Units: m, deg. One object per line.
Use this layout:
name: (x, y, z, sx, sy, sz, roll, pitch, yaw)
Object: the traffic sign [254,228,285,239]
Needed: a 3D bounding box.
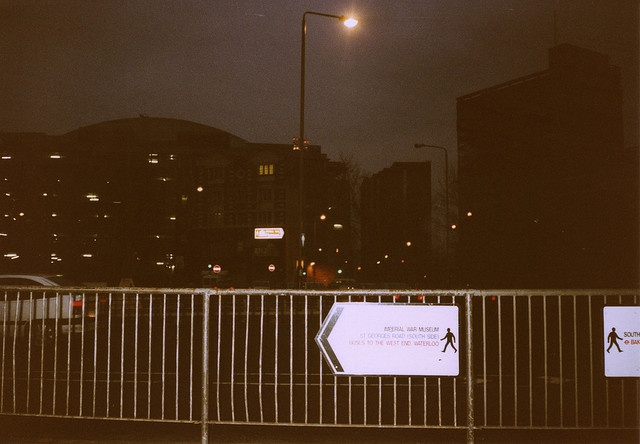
traffic sign: (-4.606, 0.879, 117.709, 2.053, 1.206, 2.905, -2, -10, 14)
